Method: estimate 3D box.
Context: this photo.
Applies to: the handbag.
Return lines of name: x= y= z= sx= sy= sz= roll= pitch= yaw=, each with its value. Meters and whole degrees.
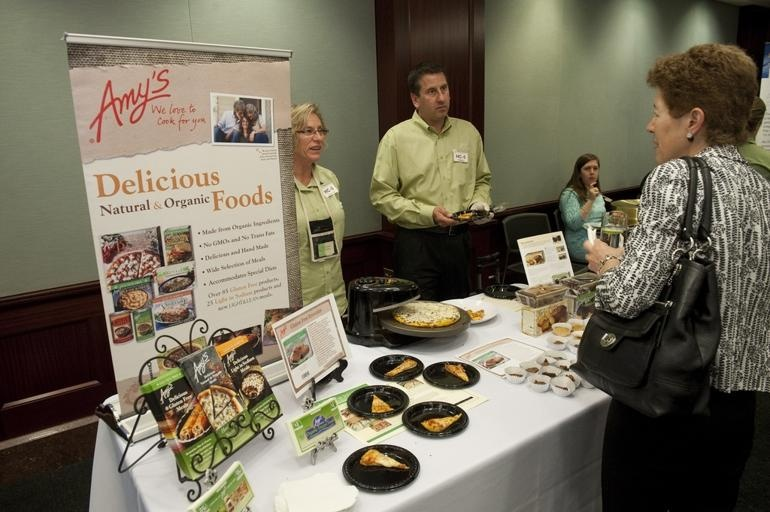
handbag: x=0.974 y=0.279 z=1.748 sx=0.291 sy=0.538 sz=0.548 roll=7 pitch=0 yaw=-8

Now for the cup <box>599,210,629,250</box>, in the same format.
cup: x=1.079 y=-0.109 z=2.212 sx=0.123 sy=0.198 sz=0.119 roll=-1 pitch=6 yaw=0

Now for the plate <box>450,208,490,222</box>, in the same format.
plate: x=0.600 y=-0.277 z=3.132 sx=0.153 sy=0.045 sz=0.125 roll=-11 pitch=6 yaw=-33

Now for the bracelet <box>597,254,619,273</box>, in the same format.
bracelet: x=0.946 y=0.026 z=2.004 sx=0.069 sy=0.041 sz=0.090 roll=-26 pitch=23 yaw=-21

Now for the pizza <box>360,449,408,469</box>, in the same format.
pizza: x=-0.014 y=0.684 z=1.575 sx=0.126 sy=0.031 sz=0.061 roll=9 pitch=27 yaw=20

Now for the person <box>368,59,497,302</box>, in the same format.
person: x=0.375 y=-0.479 z=3.418 sx=0.905 sy=1.717 sz=0.707 roll=-9 pitch=17 yaw=-9

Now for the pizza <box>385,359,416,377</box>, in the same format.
pizza: x=0.071 y=0.475 z=2.027 sx=0.106 sy=0.022 sz=0.053 roll=-16 pitch=39 yaw=-44
